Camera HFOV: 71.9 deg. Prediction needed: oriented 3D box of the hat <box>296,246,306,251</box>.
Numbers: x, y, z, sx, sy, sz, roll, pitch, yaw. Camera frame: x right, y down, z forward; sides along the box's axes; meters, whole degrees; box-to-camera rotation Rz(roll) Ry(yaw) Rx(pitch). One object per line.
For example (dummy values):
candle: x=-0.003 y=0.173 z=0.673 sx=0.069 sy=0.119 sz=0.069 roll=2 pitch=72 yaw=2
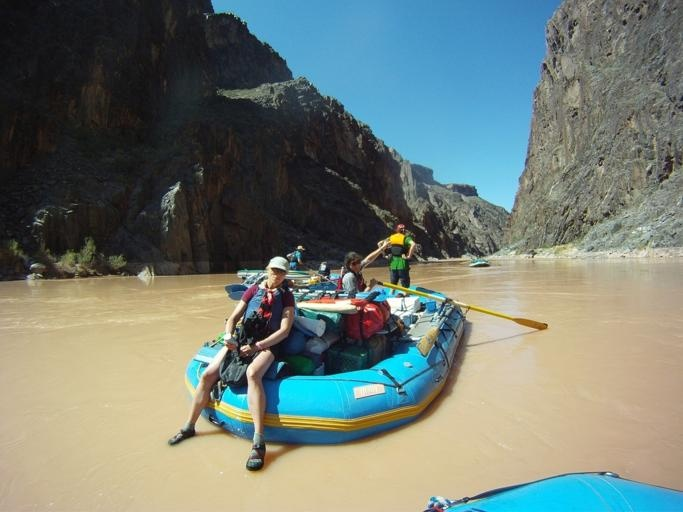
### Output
hat: x=-2.345 y=-0.450 z=26.635 sx=0.473 sy=0.149 sz=0.498 roll=18 pitch=-2 yaw=30

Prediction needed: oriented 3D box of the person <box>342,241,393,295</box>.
person: x=0.987 y=0.346 z=18.188 sx=0.746 sy=0.884 sz=2.455 roll=22 pitch=-29 yaw=8

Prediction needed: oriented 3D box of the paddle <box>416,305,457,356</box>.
paddle: x=1.628 y=1.277 z=8.253 sx=0.402 sy=0.311 sz=1.670 roll=1 pitch=11 yaw=18

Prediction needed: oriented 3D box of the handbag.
handbag: x=0.044 y=1.189 z=7.360 sx=1.076 sy=0.616 sz=1.525 roll=-8 pitch=9 yaw=21

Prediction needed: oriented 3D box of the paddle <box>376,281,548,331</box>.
paddle: x=3.086 y=1.221 z=11.470 sx=3.065 sy=0.409 sz=0.166 roll=19 pitch=-6 yaw=-5

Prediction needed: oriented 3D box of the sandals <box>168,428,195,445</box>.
sandals: x=-2.211 y=2.452 z=6.515 sx=0.338 sy=0.161 sz=0.149 roll=-13 pitch=25 yaw=-28
